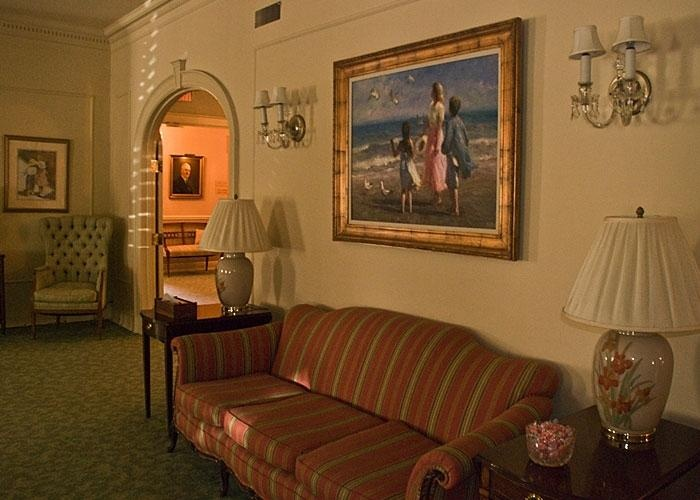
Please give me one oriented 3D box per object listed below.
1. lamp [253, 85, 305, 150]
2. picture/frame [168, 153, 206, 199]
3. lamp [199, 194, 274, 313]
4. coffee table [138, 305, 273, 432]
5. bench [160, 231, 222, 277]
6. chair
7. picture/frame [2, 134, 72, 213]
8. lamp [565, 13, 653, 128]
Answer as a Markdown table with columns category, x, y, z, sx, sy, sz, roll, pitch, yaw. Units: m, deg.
| category | x | y | z | sx | sy | sz | roll | pitch | yaw |
| --- | --- | --- | --- | --- | --- | --- | --- | --- | --- |
| lamp | -0.607 | -1.105 | 4.473 | 0.353 | 0.566 | 0.472 | 1 | 17 | -29 |
| picture/frame | -3.602 | -1.599 | 11.498 | 0.879 | 1.201 | 0.114 | 1 | 2 | -35 |
| lamp | -0.950 | 0.049 | 4.331 | 0.556 | 0.917 | 0.402 | -1 | 7 | -18 |
| coffee table | -1.157 | 0.864 | 4.570 | 1.182 | 1.220 | 0.652 | -2 | 5 | -33 |
| bench | -3.458 | -0.075 | 11.130 | 0.534 | 0.909 | 1.191 | 9 | 8 | 40 |
| chair | -3.519 | 0.289 | 6.692 | 0.904 | 1.477 | 1.050 | 1 | 2 | 18 |
| picture/frame | -4.161 | -1.016 | 6.942 | 0.883 | 1.299 | 0.094 | -4 | 11 | -34 |
| lamp | 1.292 | -0.852 | 2.641 | 0.385 | 0.499 | 0.292 | 6 | 12 | 43 |
